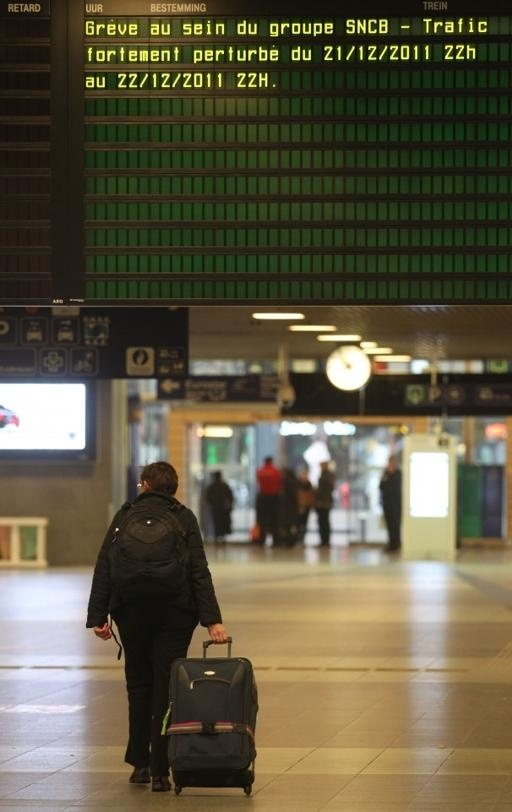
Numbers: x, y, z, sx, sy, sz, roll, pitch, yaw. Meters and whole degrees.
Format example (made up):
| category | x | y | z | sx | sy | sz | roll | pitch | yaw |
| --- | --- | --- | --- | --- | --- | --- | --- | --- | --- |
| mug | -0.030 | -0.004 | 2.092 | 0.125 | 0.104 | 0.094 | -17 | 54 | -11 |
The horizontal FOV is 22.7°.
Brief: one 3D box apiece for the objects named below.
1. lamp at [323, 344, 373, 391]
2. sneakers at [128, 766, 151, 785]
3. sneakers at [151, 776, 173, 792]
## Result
| category | x | y | z | sx | sy | sz | roll | pitch | yaw |
| --- | --- | --- | --- | --- | --- | --- | --- | --- | --- |
| lamp | 0.558 | -0.217 | 7.610 | 0.262 | 0.280 | 0.123 | -1 | -1 | 3 |
| sneakers | -0.522 | 1.679 | 5.778 | 0.046 | 0.089 | 0.124 | 8 | -9 | -39 |
| sneakers | -0.414 | 1.654 | 5.583 | 0.039 | 0.083 | 0.116 | 0 | -3 | 16 |
